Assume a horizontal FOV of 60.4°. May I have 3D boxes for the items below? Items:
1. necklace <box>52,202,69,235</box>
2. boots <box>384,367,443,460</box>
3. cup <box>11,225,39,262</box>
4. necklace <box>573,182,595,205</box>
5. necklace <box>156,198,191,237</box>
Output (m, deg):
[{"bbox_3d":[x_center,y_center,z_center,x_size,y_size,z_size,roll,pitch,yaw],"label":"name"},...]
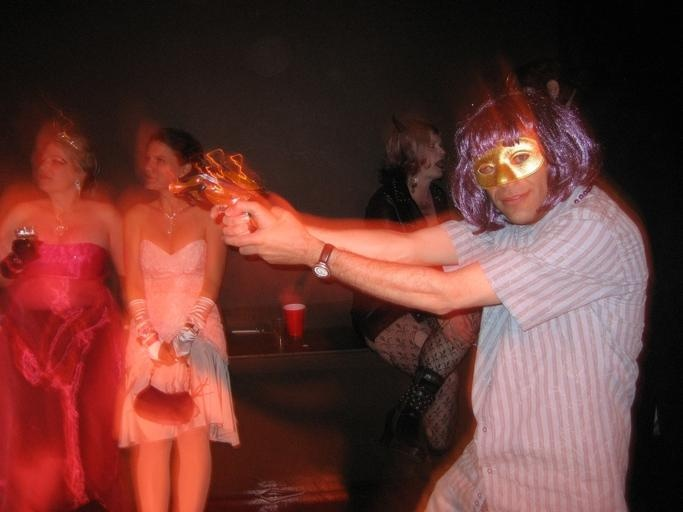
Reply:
[{"bbox_3d":[-1.759,-0.236,3.655,0.091,0.177,0.030,-6,-16,-18],"label":"necklace"},{"bbox_3d":[0.394,0.872,3.461,0.184,0.424,0.444,16,-23,30],"label":"boots"},{"bbox_3d":[-1.823,-0.074,3.382,0.150,0.181,0.131,-13,11,-38],"label":"cup"},{"bbox_3d":[0.966,-0.247,2.334,0.043,0.154,0.020,24,-34,24],"label":"necklace"},{"bbox_3d":[-1.066,-0.235,3.719,0.260,0.263,0.006,1,-23,-10],"label":"necklace"}]
